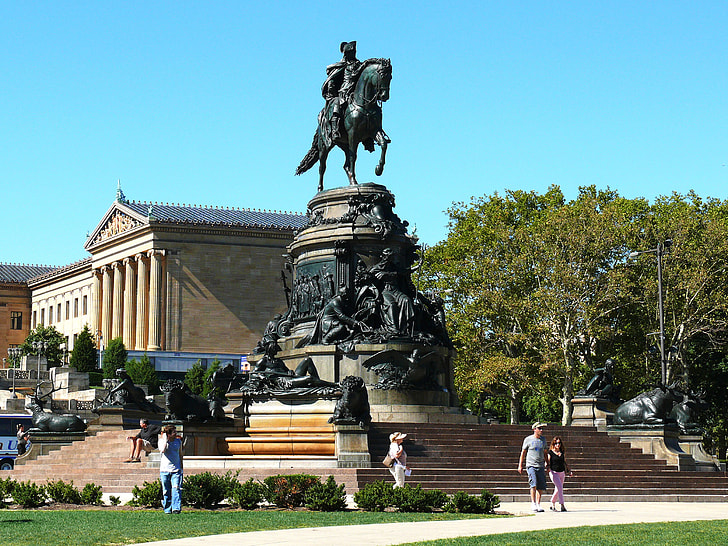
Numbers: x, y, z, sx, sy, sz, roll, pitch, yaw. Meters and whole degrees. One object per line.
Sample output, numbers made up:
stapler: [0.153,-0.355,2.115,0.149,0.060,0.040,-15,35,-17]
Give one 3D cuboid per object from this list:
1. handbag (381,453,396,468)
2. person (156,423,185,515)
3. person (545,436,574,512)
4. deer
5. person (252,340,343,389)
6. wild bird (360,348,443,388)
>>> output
handbag: [0.775,5.639,40.801,0.331,0.381,0.494,-1,-12,-4]
person: [-5.325,5.425,37.687,0.841,2.287,0.709,-2,-6,20]
person: [5.842,5.918,39.949,0.697,2.240,1.001,1,-5,-8]
deer: [-12.845,5.664,56.238,2.554,2.511,1.432,1,-12,-12]
person: [-2.803,3.558,49.191,3.002,1.482,1.072,-9,-14,31]
wild bird: [1.422,3.618,50.769,2.714,1.493,0.730,1,-12,-13]
